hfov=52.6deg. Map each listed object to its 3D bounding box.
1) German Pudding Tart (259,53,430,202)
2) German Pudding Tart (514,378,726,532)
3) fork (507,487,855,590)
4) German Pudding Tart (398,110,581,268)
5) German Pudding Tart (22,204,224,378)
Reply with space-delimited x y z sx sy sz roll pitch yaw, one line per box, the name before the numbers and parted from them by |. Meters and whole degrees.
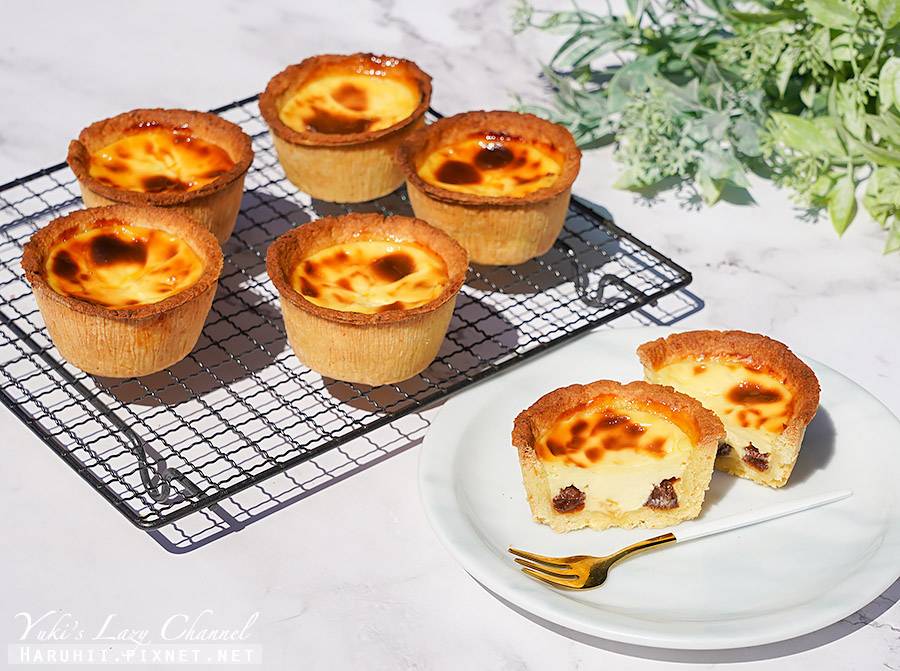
German Pudding Tart | -0.250 -0.554 2.367 0.441 0.180 0.370 -20 58 -12
German Pudding Tart | 0.314 0.228 1.732 0.529 0.185 0.263 -1 46 2
fork | 0.449 0.376 1.658 0.663 0.073 0.105 -6 50 -11
German Pudding Tart | 0.091 -0.349 2.191 0.455 0.212 0.401 -27 51 -26
German Pudding Tart | -0.687 -0.088 1.899 0.461 0.193 0.355 -12 52 -1
